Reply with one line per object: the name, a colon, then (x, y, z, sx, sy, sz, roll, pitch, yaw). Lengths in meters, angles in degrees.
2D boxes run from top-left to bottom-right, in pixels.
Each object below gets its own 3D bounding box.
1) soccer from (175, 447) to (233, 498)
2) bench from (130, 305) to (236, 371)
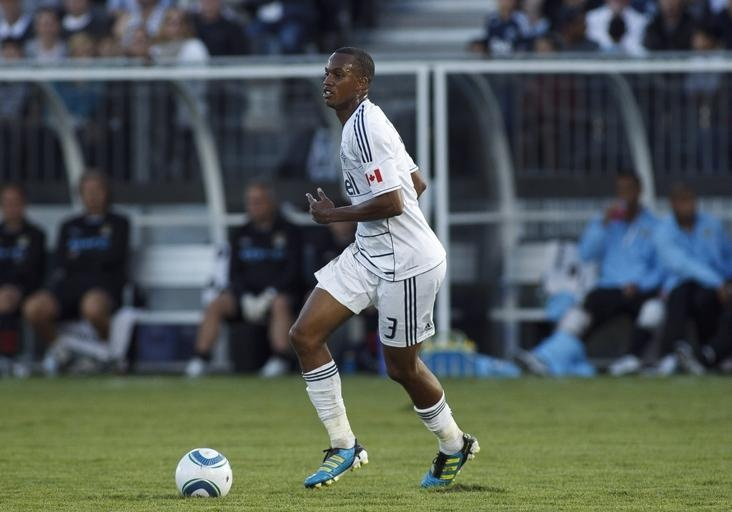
soccer: (-1.198, 1.736, 14.503, 0.426, 0.469, 0.447, 7, -9, 5)
bench: (-1.473, 0.759, 16.803, 0.468, 0.596, 1.054, 0, 3, 44)
